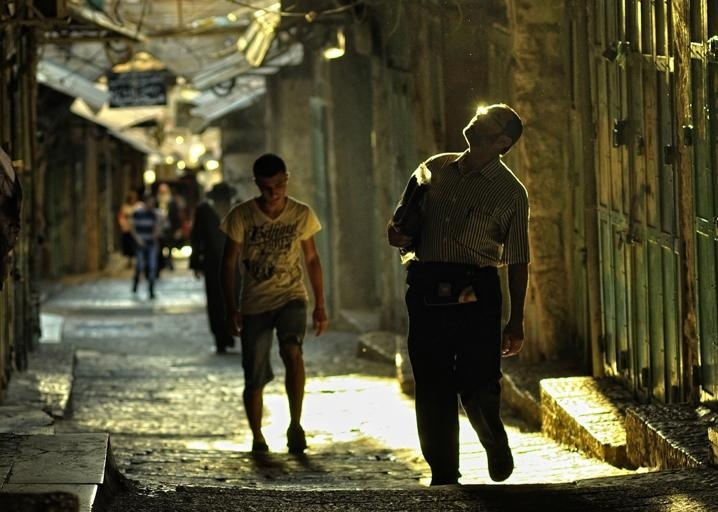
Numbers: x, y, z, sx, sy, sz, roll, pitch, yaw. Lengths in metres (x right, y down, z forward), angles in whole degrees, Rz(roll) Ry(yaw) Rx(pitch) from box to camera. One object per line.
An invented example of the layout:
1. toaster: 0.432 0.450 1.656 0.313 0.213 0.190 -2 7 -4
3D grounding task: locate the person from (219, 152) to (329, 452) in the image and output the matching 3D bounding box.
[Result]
1. person: -0.603 0.351 8.924 0.737 2.178 0.421 0 5 -6

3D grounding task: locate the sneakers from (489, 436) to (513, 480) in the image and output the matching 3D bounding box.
1. sneakers: 0.886 1.248 7.688 0.117 0.291 0.116 -8 -12 26

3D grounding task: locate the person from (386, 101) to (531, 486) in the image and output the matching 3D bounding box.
1. person: 0.621 0.234 7.652 0.827 2.325 0.281 0 5 1
